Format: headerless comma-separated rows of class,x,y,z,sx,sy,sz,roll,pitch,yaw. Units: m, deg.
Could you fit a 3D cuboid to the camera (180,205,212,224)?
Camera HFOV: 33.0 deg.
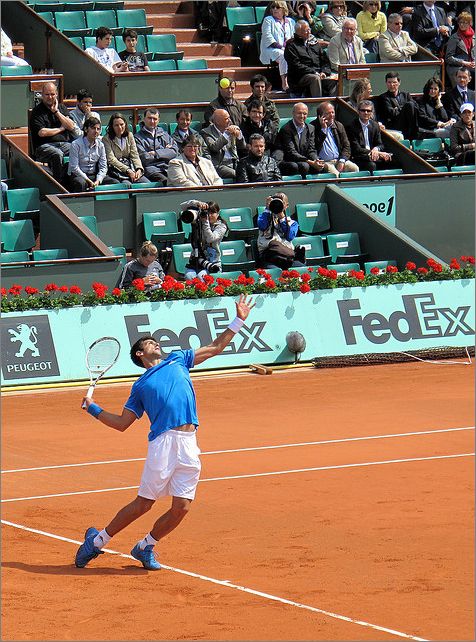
camera,-0.672,-1.687,12.860,0.368,0.262,0.543,2,8,12

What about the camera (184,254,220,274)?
camera,-0.560,-0.909,13.056,0.449,0.160,0.278,14,-31,6

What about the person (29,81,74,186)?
person,-3.428,-3.474,14.860,0.824,1.704,0.431,-1,9,-4

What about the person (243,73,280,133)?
person,0.418,-4.325,16.129,0.815,1.161,0.867,4,11,12

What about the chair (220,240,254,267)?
chair,0.024,-1.144,13.869,0.503,0.579,0.540,0,-3,-10

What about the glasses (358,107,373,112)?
glasses,2.640,-4.325,16.487,0.284,0.115,0.143,-2,9,-17

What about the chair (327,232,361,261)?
chair,1.994,-1.333,14.676,0.604,0.745,0.614,0,-2,-8

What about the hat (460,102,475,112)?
hat,5.023,-4.662,17.540,0.318,0.173,0.447,3,-10,9

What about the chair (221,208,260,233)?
chair,0.031,-1.854,14.372,0.585,0.533,0.502,0,-5,-18

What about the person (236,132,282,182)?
person,0.427,-3.019,15.039,0.827,0.882,0.692,-3,10,-21

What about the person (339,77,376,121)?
person,2.653,-4.680,17.508,0.569,1.164,0.614,-16,28,-28

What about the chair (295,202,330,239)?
chair,1.413,-1.916,15.272,0.596,0.754,0.625,-1,-1,-15

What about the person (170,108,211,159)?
person,-0.952,-3.451,15.139,0.757,1.032,0.613,-7,14,-13

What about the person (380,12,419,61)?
person,3.902,-6.882,19.698,1.049,1.206,0.640,-6,11,-35

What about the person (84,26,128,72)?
person,-2.893,-6.030,17.892,0.961,1.023,0.812,3,9,18

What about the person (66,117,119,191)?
person,-2.617,-2.930,14.242,0.733,1.274,0.583,-2,10,-16

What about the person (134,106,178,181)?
person,-1.482,-3.190,15.247,0.766,1.595,0.901,-17,24,-37

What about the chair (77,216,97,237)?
chair,-2.486,-1.596,13.602,0.347,0.438,0.362,0,4,-11

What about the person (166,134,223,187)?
person,-0.816,-2.734,14.668,1.056,1.254,0.921,-4,6,7

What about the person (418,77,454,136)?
person,4.438,-4.723,17.965,1.040,1.320,0.923,12,19,40

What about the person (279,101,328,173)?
person,1.234,-3.492,15.739,0.789,1.359,0.517,-3,10,-17

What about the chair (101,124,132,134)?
chair,-2.120,-3.488,14.835,0.416,0.190,0.532,0,8,1

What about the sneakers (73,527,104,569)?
sneakers,-0.960,1.477,5.172,0.109,0.318,0.138,28,9,4

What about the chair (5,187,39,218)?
chair,-3.729,-2.045,14.003,0.557,0.713,0.589,1,3,-18

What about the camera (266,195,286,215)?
camera,0.647,-1.914,13.378,0.342,0.198,0.336,-1,-1,15

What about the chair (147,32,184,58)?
chair,-1.820,-6.756,19.796,0.855,0.772,1.002,-1,9,-7

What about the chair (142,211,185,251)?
chair,-1.368,-1.568,14.262,0.664,0.846,0.726,-1,-1,-21

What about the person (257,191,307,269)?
person,0.750,-1.517,13.735,0.770,1.285,0.710,-4,10,-23

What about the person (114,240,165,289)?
person,-1.406,-0.785,12.154,0.780,0.725,0.521,-6,22,-32

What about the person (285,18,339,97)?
person,1.702,-5.686,18.278,0.929,2.131,1.204,-18,29,-27

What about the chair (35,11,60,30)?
chair,-4.581,-7.335,19.394,0.362,0.413,0.805,-2,9,-13
